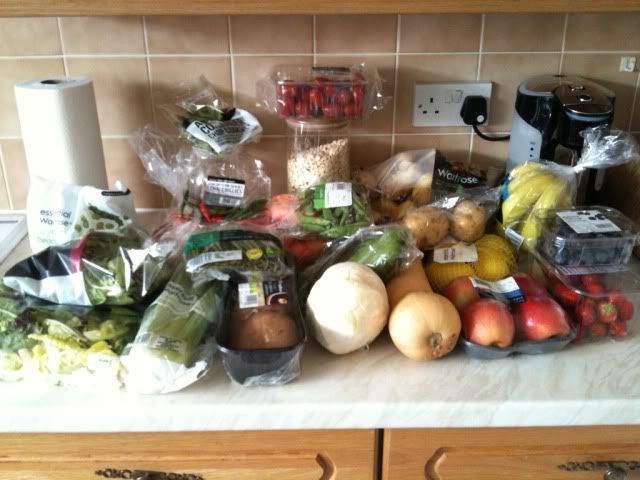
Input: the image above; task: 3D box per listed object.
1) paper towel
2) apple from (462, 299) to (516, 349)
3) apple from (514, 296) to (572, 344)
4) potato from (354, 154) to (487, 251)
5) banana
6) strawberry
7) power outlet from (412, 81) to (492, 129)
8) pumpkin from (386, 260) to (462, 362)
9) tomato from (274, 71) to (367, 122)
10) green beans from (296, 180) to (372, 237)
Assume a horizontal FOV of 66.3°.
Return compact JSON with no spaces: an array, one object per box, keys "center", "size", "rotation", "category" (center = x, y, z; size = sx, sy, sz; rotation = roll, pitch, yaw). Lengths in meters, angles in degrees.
[{"center":[-0.568,-0.240,1.149],"size":[0.149,0.266,0.161],"rotation":[-4,23,-8],"category":"paper towel"},{"center":[0.309,0.160,0.918],"size":[0.100,0.096,0.091],"rotation":[7,-14,-14],"category":"apple"},{"center":[0.401,0.145,0.907],"size":[0.081,0.080,0.086],"rotation":[-39,42,-10],"category":"apple"},{"center":[0.237,-0.098,1.139],"size":[0.314,0.175,0.263],"rotation":[2,23,9],"category":"potato"},{"center":[0.496,-0.062,1.123],"size":[0.143,0.191,0.118],"rotation":[8,-13,19],"category":"banana"},{"center":[0.521,0.126,0.981],"size":[0.136,0.113,0.137],"rotation":[-18,38,-25],"category":"strawberry"},{"center":[0.329,-0.350,1.227],"size":[0.179,0.104,0.129],"rotation":[-1,24,-1],"category":"power outlet"},{"center":[0.187,0.136,0.957],"size":[0.134,0.117,0.206],"rotation":[-5,23,-6],"category":"pumpkin"},{"center":[0.002,-0.347,1.081],"size":[0.186,0.115,0.160],"rotation":[0,33,0],"category":"tomato"},{"center":[0.029,-0.064,1.041],"size":[0.140,0.043,0.117],"rotation":[-11,64,-7],"category":"green beans"}]
